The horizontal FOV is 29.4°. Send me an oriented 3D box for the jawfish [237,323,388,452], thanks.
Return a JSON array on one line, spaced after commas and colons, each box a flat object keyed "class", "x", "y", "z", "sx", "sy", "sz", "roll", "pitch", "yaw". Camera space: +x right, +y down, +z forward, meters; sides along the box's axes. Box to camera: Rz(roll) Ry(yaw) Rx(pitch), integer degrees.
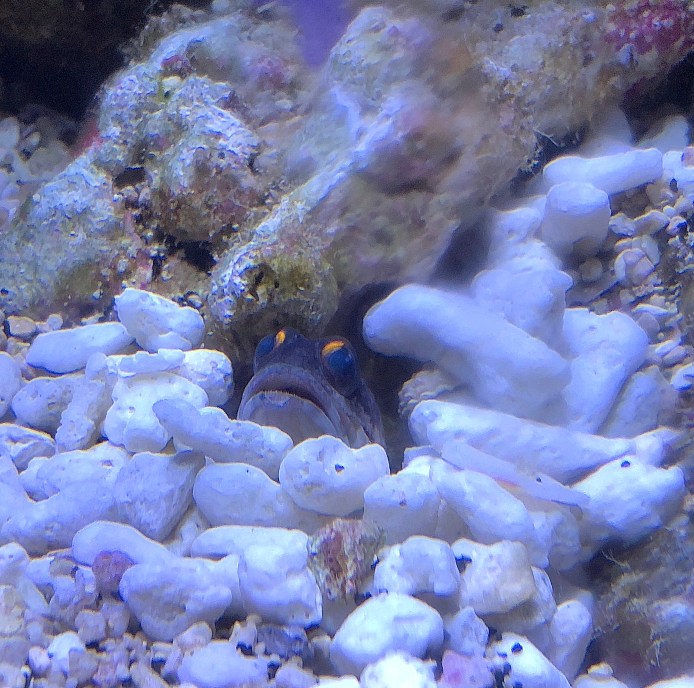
[{"class": "jawfish", "x": -0.058, "y": 0.086, "z": 2.647, "sx": 0.284, "sy": 0.237, "sz": 0.435, "roll": 11, "pitch": 0, "yaw": 20}]
